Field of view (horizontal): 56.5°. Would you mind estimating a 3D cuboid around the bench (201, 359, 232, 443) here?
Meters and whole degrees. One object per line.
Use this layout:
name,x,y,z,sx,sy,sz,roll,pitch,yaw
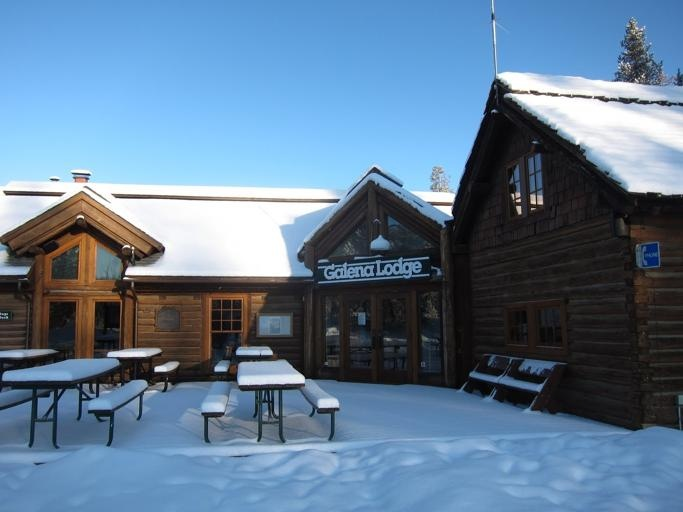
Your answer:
bench,-2.748,3.048,14.030,0.546,0.860,5.028,-1,2,-9
